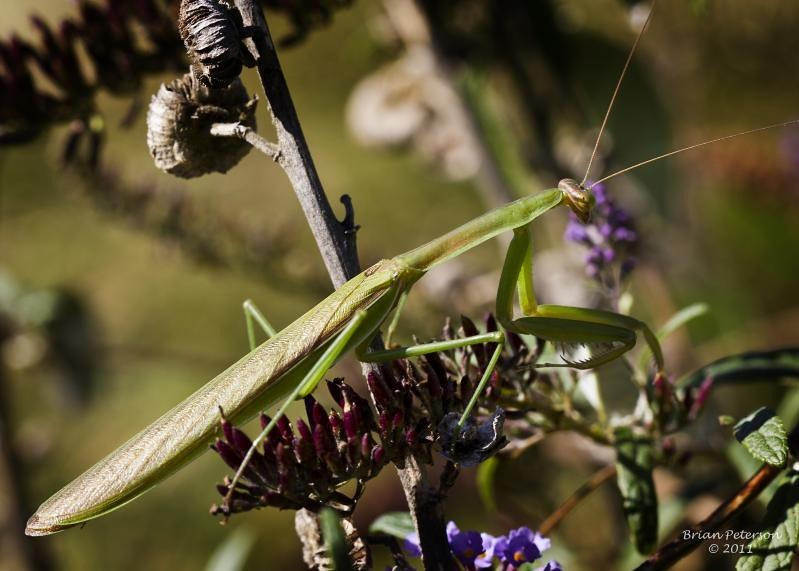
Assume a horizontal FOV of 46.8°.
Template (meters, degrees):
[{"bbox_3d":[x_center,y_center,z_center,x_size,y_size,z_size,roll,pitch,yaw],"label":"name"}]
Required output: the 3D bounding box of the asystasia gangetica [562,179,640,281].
[{"bbox_3d":[0.478,-0.120,2.173,0.143,0.245,0.135,8,19,41],"label":"asystasia gangetica"}]
